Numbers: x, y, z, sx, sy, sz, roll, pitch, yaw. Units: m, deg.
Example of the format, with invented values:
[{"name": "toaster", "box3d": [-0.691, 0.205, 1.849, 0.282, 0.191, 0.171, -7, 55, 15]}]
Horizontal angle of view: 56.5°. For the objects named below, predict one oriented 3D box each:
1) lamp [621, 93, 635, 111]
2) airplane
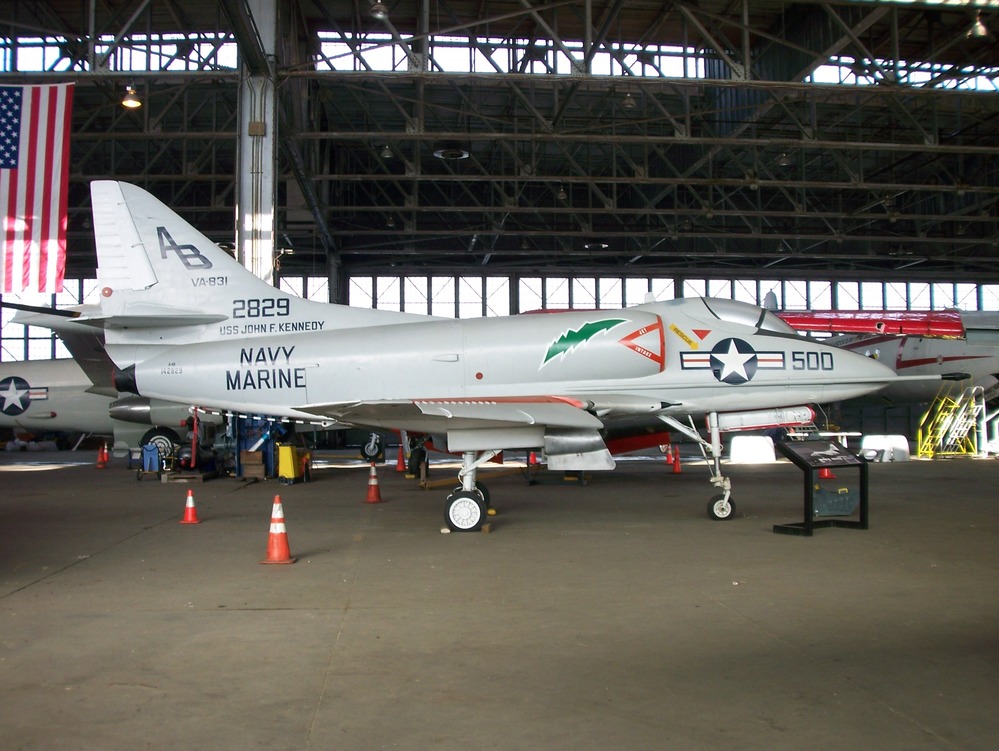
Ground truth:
[{"name": "lamp", "box3d": [3.922, -8.256, 27.980, 0.408, 0.340, 0.777, 0, 10, 7]}, {"name": "airplane", "box3d": [-0.926, -0.286, 15.085, 10.579, 2.859, 7.623, 0, 0, -5]}]
